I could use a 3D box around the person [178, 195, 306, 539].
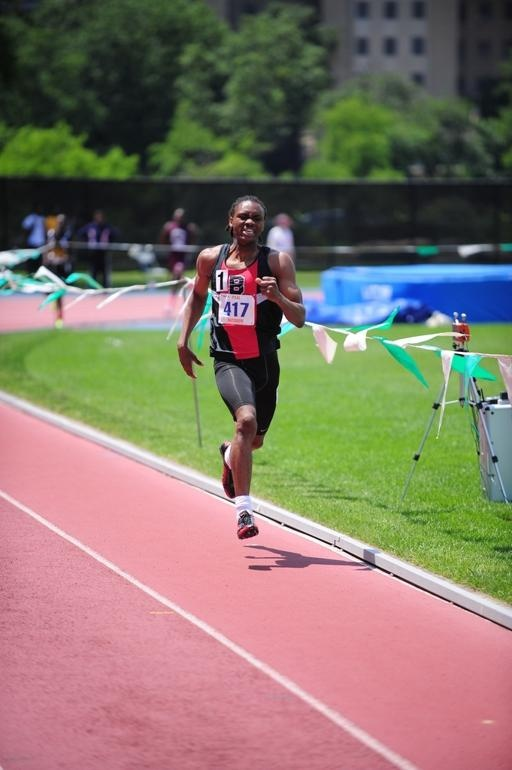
[{"bbox_3d":[-0.086,-0.084,4.925,0.651,1.889,1.070,2,8,-11],"label":"person"}]

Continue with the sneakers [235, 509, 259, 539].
[{"bbox_3d":[-0.050,0.726,4.555,0.086,0.146,0.143,2,8,-5],"label":"sneakers"}]

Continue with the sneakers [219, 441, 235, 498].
[{"bbox_3d":[-0.194,0.488,5.127,0.114,0.306,0.141,-3,-2,-6],"label":"sneakers"}]
